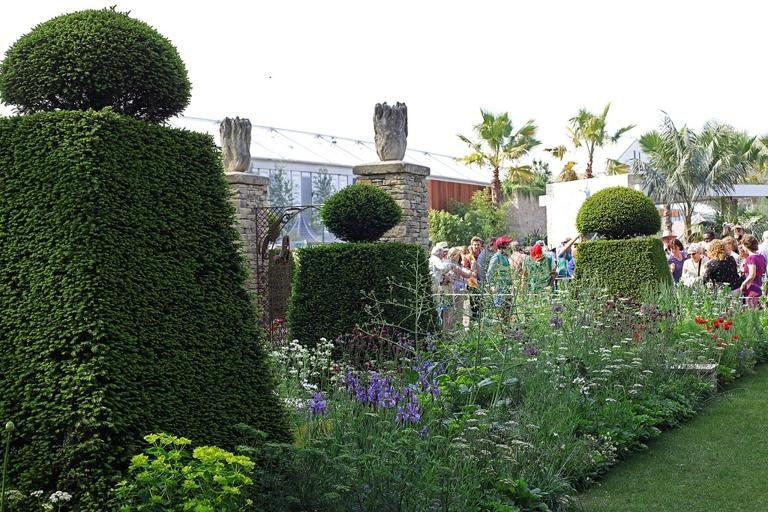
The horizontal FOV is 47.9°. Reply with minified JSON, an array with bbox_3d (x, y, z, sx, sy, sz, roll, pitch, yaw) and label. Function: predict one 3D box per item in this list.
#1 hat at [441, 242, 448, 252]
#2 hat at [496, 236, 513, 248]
[{"bbox_3d":[0.818,-0.132,11.706,0.083,0.106,0.113,3,12,7],"label":"hat"},{"bbox_3d":[1.585,-0.155,11.664,0.273,0.151,0.184,-10,7,15],"label":"hat"}]
